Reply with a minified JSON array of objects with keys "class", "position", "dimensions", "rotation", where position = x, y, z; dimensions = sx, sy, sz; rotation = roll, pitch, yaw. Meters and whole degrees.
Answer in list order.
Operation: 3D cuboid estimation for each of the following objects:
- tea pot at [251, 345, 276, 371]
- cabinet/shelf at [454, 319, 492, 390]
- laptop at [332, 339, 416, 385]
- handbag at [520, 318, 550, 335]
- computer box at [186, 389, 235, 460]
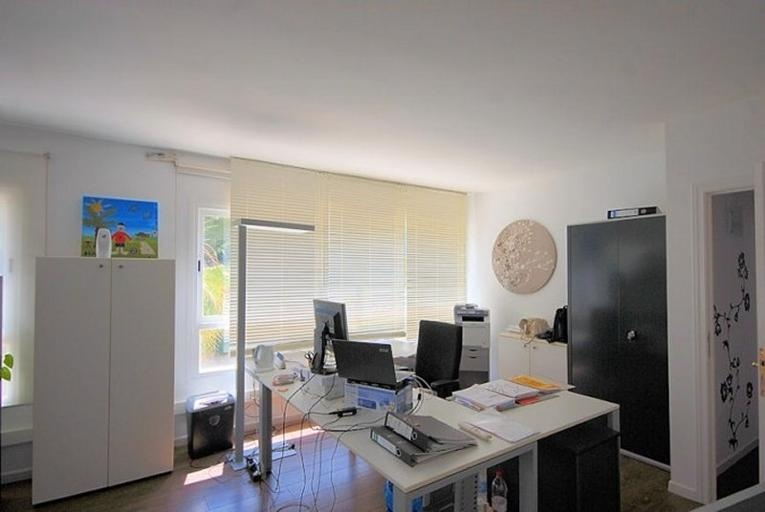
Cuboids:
[{"class":"tea pot","position":[-1.187,0.967,5.037],"dimensions":[0.260,0.263,0.164],"rotation":[-1,4,-27]},{"class":"cabinet/shelf","position":[1.178,1.238,6.760],"dimensions":[0.555,0.754,0.538],"rotation":[5,-11,-18]},{"class":"laptop","position":[-0.096,0.745,4.198],"dimensions":[0.539,0.384,0.391],"rotation":[-2,10,32]},{"class":"handbag","position":[1.787,0.843,6.195],"dimensions":[0.272,0.138,0.199],"rotation":[1,-4,-38]},{"class":"computer box","position":[-1.819,1.754,5.474],"dimensions":[0.502,0.593,0.359],"rotation":[-3,10,-39]}]
